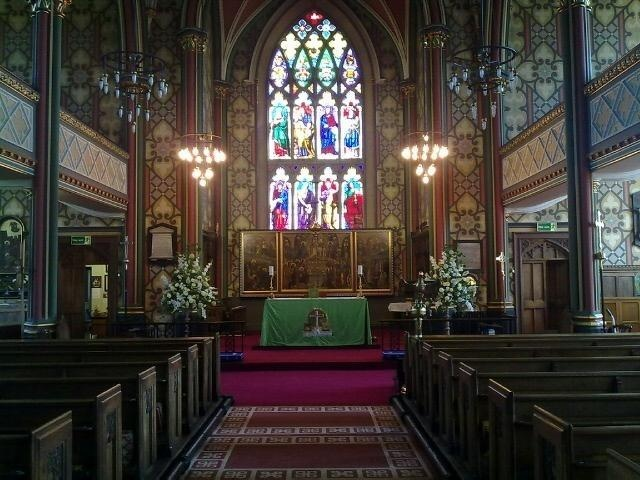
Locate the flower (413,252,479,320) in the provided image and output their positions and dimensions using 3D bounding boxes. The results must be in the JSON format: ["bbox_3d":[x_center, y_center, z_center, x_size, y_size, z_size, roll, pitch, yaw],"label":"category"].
[{"bbox_3d":[3.253,1.041,13.684,1.045,1.330,1.095,-8,-3,-45],"label":"flower"}]

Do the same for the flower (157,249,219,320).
[{"bbox_3d":[-3.020,1.101,14.102,1.147,1.490,0.583,1,1,-17],"label":"flower"}]
